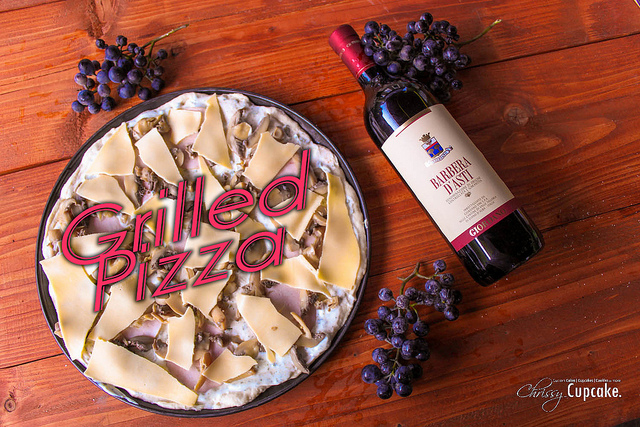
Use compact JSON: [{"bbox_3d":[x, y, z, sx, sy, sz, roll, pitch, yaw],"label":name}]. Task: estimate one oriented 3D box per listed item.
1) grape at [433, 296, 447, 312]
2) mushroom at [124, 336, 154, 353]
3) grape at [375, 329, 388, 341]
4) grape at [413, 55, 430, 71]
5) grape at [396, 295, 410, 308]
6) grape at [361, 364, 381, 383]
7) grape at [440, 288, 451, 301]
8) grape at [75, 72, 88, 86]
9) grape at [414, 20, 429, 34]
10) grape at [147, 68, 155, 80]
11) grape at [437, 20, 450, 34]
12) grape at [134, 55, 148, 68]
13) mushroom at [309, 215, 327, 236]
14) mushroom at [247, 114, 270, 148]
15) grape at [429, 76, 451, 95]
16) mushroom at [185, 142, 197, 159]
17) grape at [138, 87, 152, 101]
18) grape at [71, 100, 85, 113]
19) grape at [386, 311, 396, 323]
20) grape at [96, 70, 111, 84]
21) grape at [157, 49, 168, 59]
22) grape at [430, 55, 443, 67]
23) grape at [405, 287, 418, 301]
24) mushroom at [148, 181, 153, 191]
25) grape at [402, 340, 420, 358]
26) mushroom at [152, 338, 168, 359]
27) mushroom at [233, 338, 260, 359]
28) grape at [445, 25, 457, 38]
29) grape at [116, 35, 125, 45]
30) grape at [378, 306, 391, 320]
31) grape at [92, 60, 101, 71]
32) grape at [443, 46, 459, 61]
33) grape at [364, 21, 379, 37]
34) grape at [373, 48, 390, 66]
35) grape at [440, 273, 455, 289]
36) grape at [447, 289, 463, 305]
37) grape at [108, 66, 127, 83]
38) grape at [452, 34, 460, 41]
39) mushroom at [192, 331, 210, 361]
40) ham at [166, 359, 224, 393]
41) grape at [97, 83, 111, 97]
[{"bbox_3d":[0.381,0.281,1.885,0.026,0.026,0.053,-11,101,-44],"label":"grape"},{"bbox_3d":[-0.573,0.416,1.898,0.072,0.025,0.048,-8,99,-10],"label":"mushroom"},{"bbox_3d":[0.194,0.383,1.872,0.035,0.018,0.027,-6,65,9],"label":"grape"},{"bbox_3d":[0.321,-0.482,1.880,0.045,0.045,0.052,-10,92,16],"label":"grape"},{"bbox_3d":[0.261,0.274,1.862,0.029,0.037,0.036,21,78,-32],"label":"grape"},{"bbox_3d":[0.163,0.503,1.869,0.056,0.030,0.055,-2,93,2],"label":"grape"},{"bbox_3d":[0.394,0.252,1.861,0.040,0.012,0.039,2,93,9],"label":"grape"},{"bbox_3d":[-0.788,-0.447,1.965,0.037,0.037,0.043,-2,93,10],"label":"grape"},{"bbox_3d":[0.330,-0.605,1.913,0.040,0.022,0.039,0,93,2],"label":"grape"},{"bbox_3d":[-0.563,-0.466,1.972,0.019,0.016,0.036,-5,97,-5],"label":"grape"},{"bbox_3d":[0.409,-0.609,1.941,0.040,0.012,0.039,2,83,1],"label":"grape"},{"bbox_3d":[-0.594,-0.504,1.965,0.036,0.024,0.040,0,95,-1],"label":"grape"},{"bbox_3d":[0.001,0.040,1.933,0.020,0.059,0.059,35,42,-19],"label":"mushroom"},{"bbox_3d":[-0.199,-0.269,1.937,0.031,0.030,0.121,40,92,13],"label":"mushroom"},{"bbox_3d":[0.393,-0.416,1.917,0.056,0.032,0.054,-3,106,-4],"label":"grape"},{"bbox_3d":[-0.425,-0.205,1.946,0.031,0.014,0.046,-4,96,14],"label":"mushroom"},{"bbox_3d":[-0.581,-0.399,1.987,0.042,0.041,0.049,9,92,-4],"label":"grape"},{"bbox_3d":[-0.806,-0.358,1.978,0.038,0.038,0.045,-9,92,13],"label":"grape"},{"bbox_3d":[0.224,0.325,1.876,0.030,0.010,0.033,1,81,-3],"label":"grape"},{"bbox_3d":[-0.713,-0.451,1.956,0.043,0.044,0.050,-1,96,15],"label":"grape"},{"bbox_3d":[-0.530,-0.544,2.003,0.031,0.034,0.041,1,67,-9],"label":"grape"},{"bbox_3d":[0.372,-0.487,1.893,0.034,0.019,0.033,-4,95,-8],"label":"grape"},{"bbox_3d":[0.300,0.256,1.883,0.034,0.023,0.040,3,66,4],"label":"grape"},{"bbox_3d":[-0.551,-0.093,1.925,0.006,0.007,0.026,3,97,9],"label":"mushroom"},{"bbox_3d":[0.282,0.419,1.847,0.051,0.028,0.049,-5,97,-2],"label":"grape"},{"bbox_3d":[-0.511,0.428,1.896,0.050,0.017,0.053,15,65,-3],"label":"mushroom"},{"bbox_3d":[-0.231,0.427,1.893,0.077,0.020,0.055,7,65,-7],"label":"mushroom"},{"bbox_3d":[0.425,-0.589,1.915,0.036,0.020,0.035,-3,89,-1],"label":"grape"},{"bbox_3d":[-0.668,-0.594,1.991,0.013,0.038,0.037,10,80,-47],"label":"grape"},{"bbox_3d":[0.201,0.312,1.880,0.032,0.023,0.041,11,90,10],"label":"grape"},{"bbox_3d":[-0.746,-0.498,1.984,0.029,0.019,0.034,4,74,-41],"label":"grape"},{"bbox_3d":[0.421,-0.513,1.895,0.044,0.044,0.050,-3,89,12],"label":"grape"},{"bbox_3d":[0.170,-0.605,1.927,0.048,0.056,0.047,2,128,-6],"label":"grape"},{"bbox_3d":[0.195,-0.495,1.868,0.048,0.048,0.055,-6,98,13],"label":"grape"},{"bbox_3d":[0.403,0.211,1.879,0.038,0.049,0.044,-4,75,36],"label":"grape"},{"bbox_3d":[0.433,0.262,1.884,0.051,0.026,0.049,4,86,-7],"label":"grape"},{"bbox_3d":[-0.664,-0.458,1.946,0.053,0.031,0.050,3,90,-14],"label":"grape"},{"bbox_3d":[0.449,-0.575,1.950,0.025,0.029,0.014,-42,116,-28],"label":"grape"},{"bbox_3d":[-0.375,0.421,1.894,0.046,0.026,0.089,9,65,-6],"label":"mushroom"},{"bbox_3d":[-0.404,0.511,1.893,0.177,0.026,0.087,41,66,9],"label":"ham"},{"bbox_3d":[-0.715,-0.410,1.970,0.040,0.040,0.047,-3,93,11],"label":"grape"}]
